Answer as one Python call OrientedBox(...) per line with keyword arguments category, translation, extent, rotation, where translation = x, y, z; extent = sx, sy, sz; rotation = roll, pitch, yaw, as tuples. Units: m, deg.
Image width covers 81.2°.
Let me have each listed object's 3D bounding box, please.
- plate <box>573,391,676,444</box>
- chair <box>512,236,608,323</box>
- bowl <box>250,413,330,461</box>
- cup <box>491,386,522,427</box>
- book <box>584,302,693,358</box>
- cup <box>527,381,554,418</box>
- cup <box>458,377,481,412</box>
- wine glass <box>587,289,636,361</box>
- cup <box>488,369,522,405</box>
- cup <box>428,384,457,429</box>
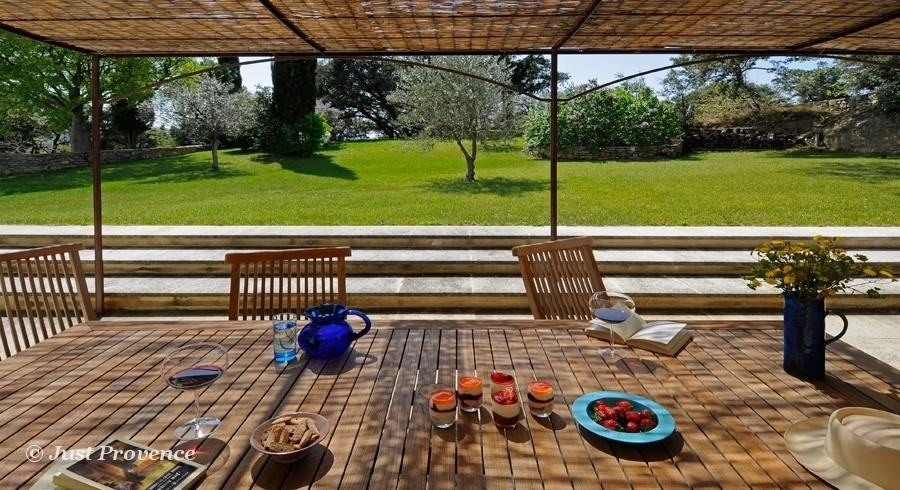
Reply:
OrientedBox(category="plate", translation=(0.977, 0.967, 3.007), extent=(0.452, 0.230, 0.465), rotation=(3, 0, 40))
OrientedBox(category="chair", translation=(0.799, 0.259, 4.325), extent=(0.926, 0.744, 0.492), rotation=(2, 0, -15))
OrientedBox(category="bowl", translation=(-0.878, 1.036, 2.858), extent=(0.321, 0.085, 0.290), rotation=(-8, 17, -33))
OrientedBox(category="cup", translation=(0.323, 0.919, 2.999), extent=(0.176, 0.203, 0.140), rotation=(-2, 18, 5))
OrientedBox(category="book", translation=(1.330, 0.599, 3.566), extent=(0.567, 0.085, 0.376), rotation=(7, 12, 30))
OrientedBox(category="cup", translation=(0.526, 0.894, 3.042), extent=(0.143, 0.193, 0.110), rotation=(-2, 19, 6))
OrientedBox(category="cup", translation=(0.120, 0.877, 3.110), extent=(0.232, 0.154, 0.193), rotation=(0, 3, -1))
OrientedBox(category="wine glass", translation=(1.049, 0.512, 3.422), extent=(0.312, 0.424, 0.276), rotation=(0, 1, -8))
OrientedBox(category="cup", translation=(0.316, 0.819, 3.078), extent=(0.192, 0.125, 0.160), rotation=(0, -4, -4))
OrientedBox(category="cup", translation=(-0.036, 0.927, 3.004), extent=(0.180, 0.198, 0.136), rotation=(-5, 18, -4))
